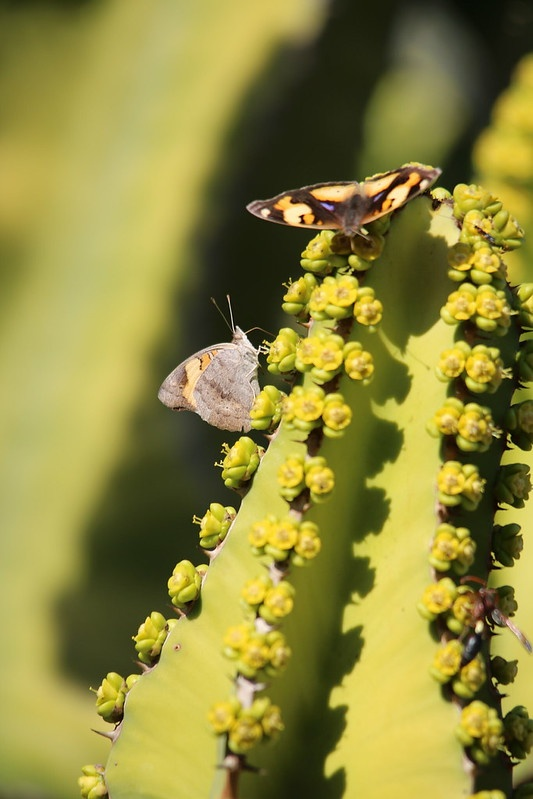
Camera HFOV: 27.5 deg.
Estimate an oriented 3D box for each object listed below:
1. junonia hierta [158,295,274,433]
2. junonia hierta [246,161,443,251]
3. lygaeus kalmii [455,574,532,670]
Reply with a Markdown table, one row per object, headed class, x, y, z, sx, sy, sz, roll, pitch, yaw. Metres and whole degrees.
| class | x | y | z | sx | sy | sz | roll | pitch | yaw |
| --- | --- | --- | --- | --- | --- | --- | --- | --- | --- |
| junonia hierta | -0.123 | -0.075 | 2.854 | 0.277 | 0.318 | 0.339 | 16 | -4 | -34 |
| junonia hierta | 0.153 | -0.326 | 1.850 | 0.334 | 0.098 | 0.087 | -3 | -20 | 34 |
| lygaeus kalmii | 0.357 | 0.355 | 1.774 | 0.162 | 0.125 | 0.086 | 8 | 12 | 37 |
